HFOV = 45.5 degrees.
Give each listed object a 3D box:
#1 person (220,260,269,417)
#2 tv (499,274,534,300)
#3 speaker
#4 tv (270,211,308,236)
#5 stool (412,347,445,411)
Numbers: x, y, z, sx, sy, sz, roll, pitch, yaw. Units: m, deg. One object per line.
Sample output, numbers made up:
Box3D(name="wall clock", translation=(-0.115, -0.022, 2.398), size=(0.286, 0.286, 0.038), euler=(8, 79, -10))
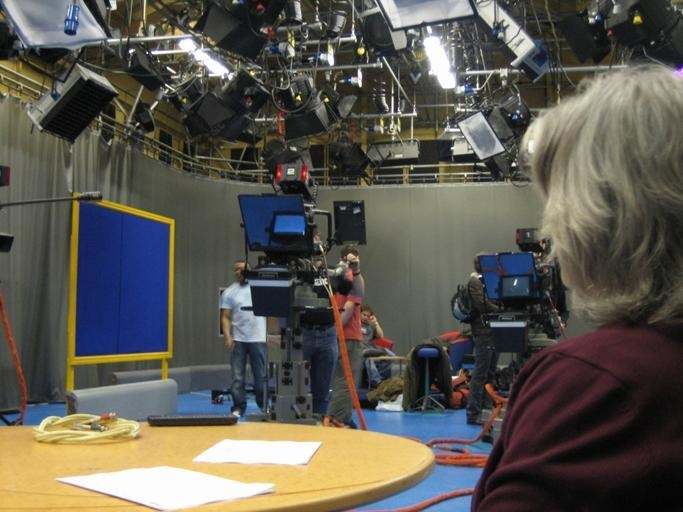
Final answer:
Box3D(name="person", translation=(-0.955, 0.822, 7.979), size=(0.424, 1.474, 0.712), euler=(-3, 2, -9))
Box3D(name="tv", translation=(1.468, 0.261, 6.864), size=(0.283, 0.229, 0.172), euler=(-1, -3, 17))
Box3D(name="speaker", translation=(-2.281, -1.404, 6.954), size=(0.724, 0.303, 0.549), euler=(-49, -37, 14))
Box3D(name="tv", translation=(-0.365, -0.223, 5.649), size=(0.252, 0.199, 0.147), euler=(-1, -9, 4))
Box3D(name="stool", translation=(0.927, 1.278, 8.572), size=(0.260, 0.681, 0.430), euler=(-2, 2, 7))
